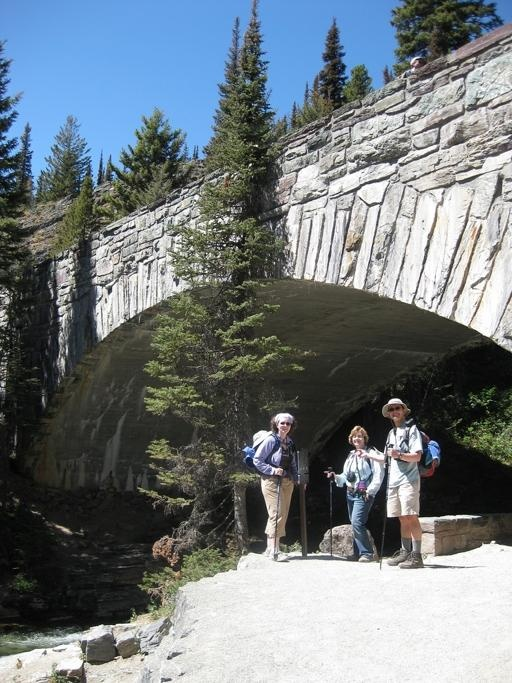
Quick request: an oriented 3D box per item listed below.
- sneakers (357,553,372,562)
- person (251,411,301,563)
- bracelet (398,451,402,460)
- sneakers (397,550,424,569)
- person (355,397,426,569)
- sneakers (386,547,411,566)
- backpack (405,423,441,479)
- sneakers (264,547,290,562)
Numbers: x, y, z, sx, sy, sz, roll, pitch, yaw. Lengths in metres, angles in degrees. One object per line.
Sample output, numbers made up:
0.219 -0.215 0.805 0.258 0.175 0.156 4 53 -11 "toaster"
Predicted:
0.991 1.990 6.815 0.122 0.050 0.050 17 -27 -19 "sneakers"
0.178 1.299 6.652 0.401 1.306 0.572 -4 -11 -1 "person"
1.156 0.923 6.012 0.019 0.056 0.043 8 4 29 "bracelet"
1.308 1.846 6.236 0.263 0.145 0.092 2 -13 8 "sneakers"
1.194 1.196 6.253 0.404 1.419 0.739 -4 -11 3 "person"
1.258 1.856 6.424 0.092 0.107 0.271 -28 -28 38 "sneakers"
1.404 0.880 6.086 0.178 0.271 0.223 -4 -2 25 "backpack"
0.178 1.949 6.764 0.093 0.104 0.248 15 -23 -38 "sneakers"
